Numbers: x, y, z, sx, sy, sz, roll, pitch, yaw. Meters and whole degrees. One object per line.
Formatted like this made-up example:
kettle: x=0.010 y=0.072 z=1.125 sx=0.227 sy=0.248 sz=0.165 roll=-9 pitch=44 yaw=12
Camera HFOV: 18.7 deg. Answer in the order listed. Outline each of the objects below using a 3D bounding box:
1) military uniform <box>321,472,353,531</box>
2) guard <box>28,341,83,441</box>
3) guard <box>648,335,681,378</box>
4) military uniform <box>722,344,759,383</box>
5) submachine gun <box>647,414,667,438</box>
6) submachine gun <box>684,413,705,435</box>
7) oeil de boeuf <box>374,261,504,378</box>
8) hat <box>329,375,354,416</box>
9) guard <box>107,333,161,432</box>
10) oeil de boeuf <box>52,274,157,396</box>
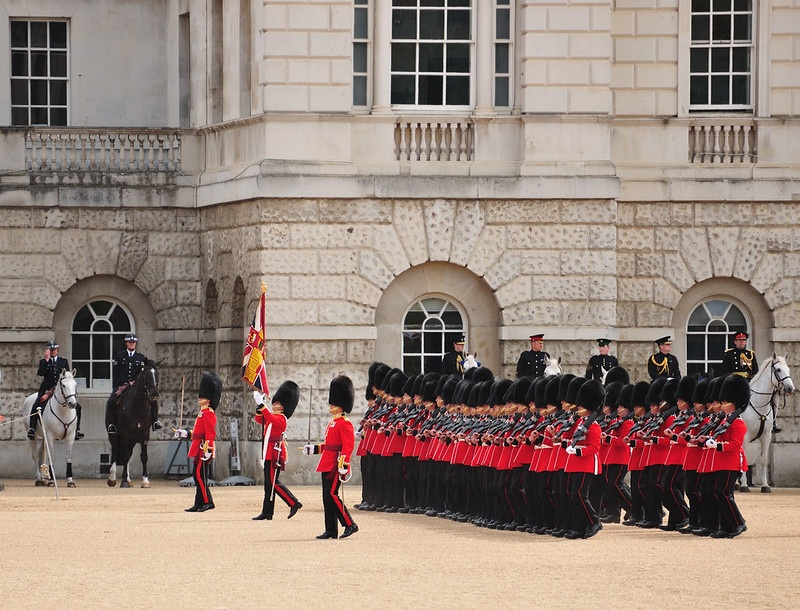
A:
military uniform: x=-0.804 y=2.552 z=30.805 sx=0.395 sy=0.799 sz=0.525 roll=0 pitch=-4 yaw=-1
guard: x=-5.440 y=1.270 z=37.961 sx=0.717 sy=1.688 sz=0.673 roll=5 pitch=4 yaw=29
guard: x=3.972 y=0.881 z=36.901 sx=0.528 sy=0.798 sz=0.529 roll=0 pitch=5 yaw=-15
military uniform: x=4.959 y=0.890 z=35.813 sx=0.518 sy=0.500 sz=0.281 roll=4 pitch=-12 yaw=-13
submachine gun: x=3.355 y=1.608 z=32.133 sx=0.147 sy=0.355 sz=0.130 roll=35 pitch=-11 yaw=35
submachine gun: x=3.784 y=1.572 z=31.510 sx=0.181 sy=0.115 sz=0.497 roll=1 pitch=37 yaw=27
oeil de boeuf: x=0.362 y=0.161 z=37.943 sx=1.733 sy=1.833 sz=0.651 roll=-2 pitch=4 yaw=-20
hat: x=-0.777 y=1.164 z=31.130 sx=0.290 sy=0.481 sz=0.481 roll=0 pitch=-4 yaw=-2
guard: x=-4.328 y=1.122 z=37.937 sx=0.691 sy=1.716 sz=0.729 roll=3 pitch=4 yaw=34
oeil de boeuf: x=-4.871 y=0.611 z=39.759 sx=1.552 sy=1.954 sz=0.187 roll=1 pitch=-4 yaw=-26
